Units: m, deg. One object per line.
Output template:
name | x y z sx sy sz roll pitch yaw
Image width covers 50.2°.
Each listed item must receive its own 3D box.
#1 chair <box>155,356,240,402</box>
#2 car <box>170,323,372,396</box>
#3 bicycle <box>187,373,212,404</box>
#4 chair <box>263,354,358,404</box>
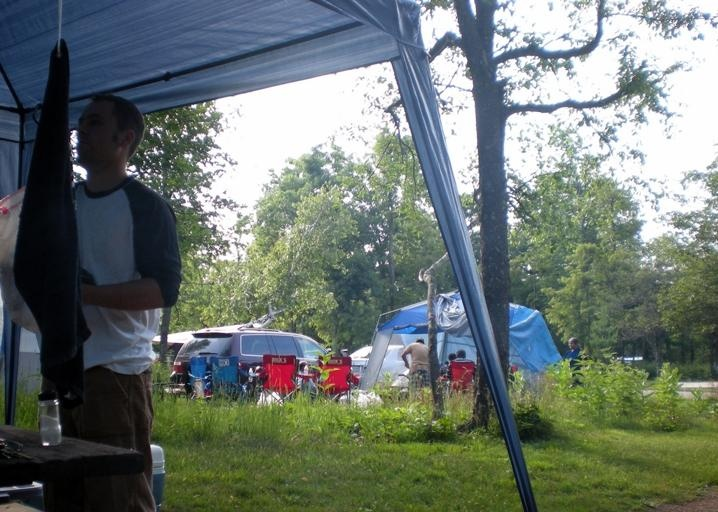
chair | -2.609 2.107 13.051 0.722 0.663 1.184 -1 -4 9
car | -2.253 1.936 16.123 3.547 1.470 1.641 4 -8 -44
bicycle | -2.570 2.141 12.470 0.322 0.532 2.070 1 -14 -12
chair | -0.939 2.077 12.907 1.737 0.831 1.294 3 -14 -21
